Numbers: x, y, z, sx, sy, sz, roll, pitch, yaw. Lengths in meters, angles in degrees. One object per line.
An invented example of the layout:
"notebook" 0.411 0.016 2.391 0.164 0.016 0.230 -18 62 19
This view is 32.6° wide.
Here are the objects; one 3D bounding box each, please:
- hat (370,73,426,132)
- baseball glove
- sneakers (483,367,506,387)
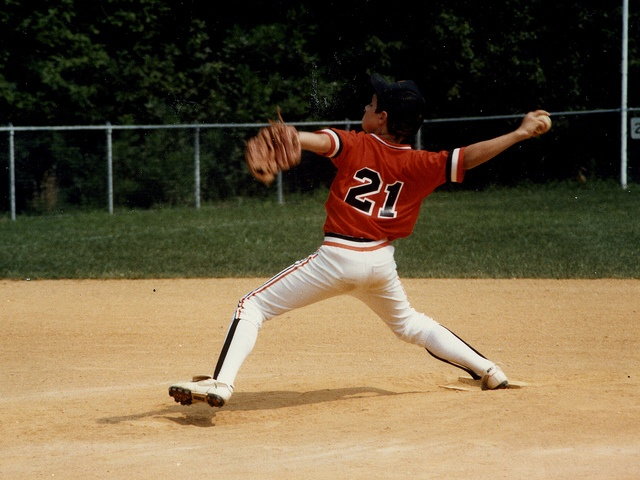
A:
"hat" 1.047 -1.833 14.243 0.525 0.887 0.430 -18 -6 -37
"baseball glove" -0.573 -1.176 14.026 0.602 0.807 0.356 14 -21 23
"sneakers" 2.348 1.858 14.802 0.295 0.255 0.286 -18 13 -19
